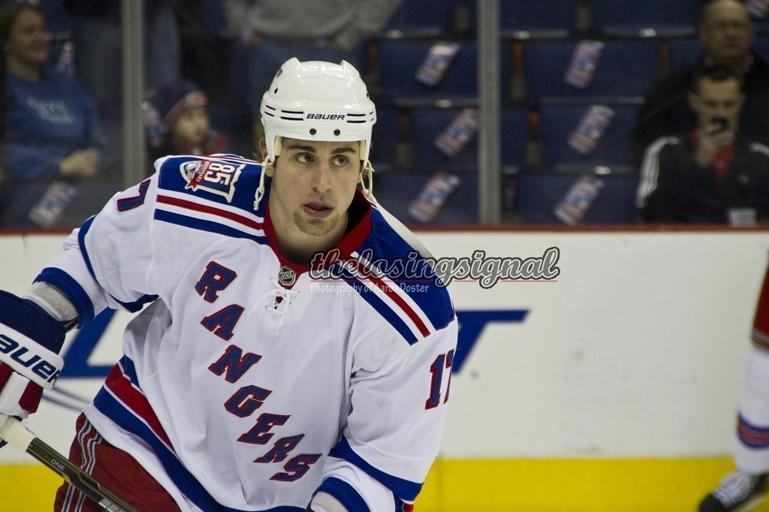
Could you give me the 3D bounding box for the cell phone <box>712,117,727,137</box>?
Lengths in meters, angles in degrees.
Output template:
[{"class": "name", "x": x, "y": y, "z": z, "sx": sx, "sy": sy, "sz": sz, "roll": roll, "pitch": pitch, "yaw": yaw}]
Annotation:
[{"class": "cell phone", "x": 1.454, "y": -0.569, "z": 6.501, "sx": 0.059, "sy": 0.022, "sz": 0.076, "roll": 18, "pitch": -16, "yaw": -1}]
